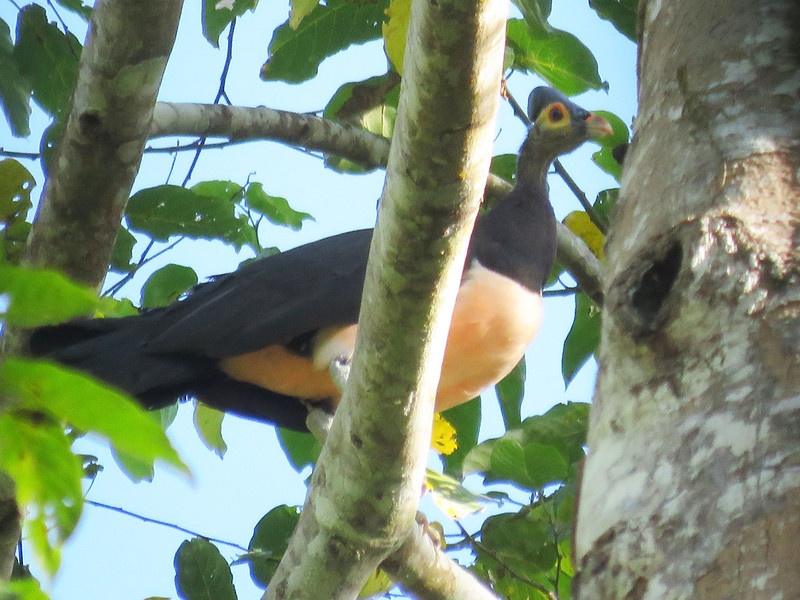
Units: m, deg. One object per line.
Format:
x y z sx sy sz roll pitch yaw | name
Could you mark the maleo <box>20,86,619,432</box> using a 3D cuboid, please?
-0.165 -0.243 6.275 1.770 1.720 0.591 6 -38 1 | maleo
